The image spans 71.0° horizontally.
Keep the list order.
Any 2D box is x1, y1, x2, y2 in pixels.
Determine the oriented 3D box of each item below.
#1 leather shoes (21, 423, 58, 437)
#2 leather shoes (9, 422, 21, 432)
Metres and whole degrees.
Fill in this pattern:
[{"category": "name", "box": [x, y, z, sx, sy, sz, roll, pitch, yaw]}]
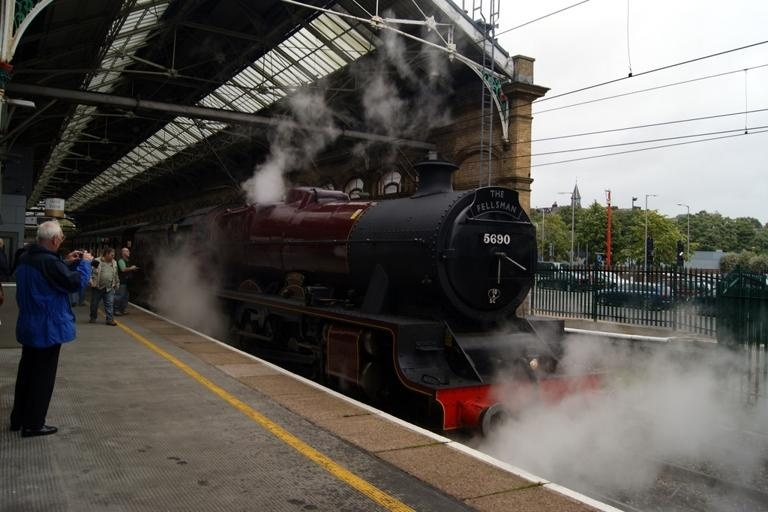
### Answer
[{"category": "leather shoes", "box": [-4.240, 2.127, 6.616, 0.393, 0.166, 0.143, -3, 4, -24]}, {"category": "leather shoes", "box": [-4.608, 2.111, 6.691, 0.122, 0.092, 0.124, 5, -12, -22]}]
